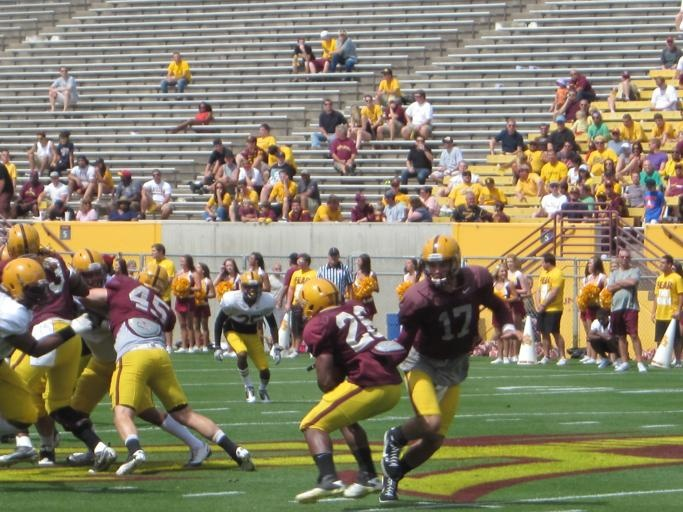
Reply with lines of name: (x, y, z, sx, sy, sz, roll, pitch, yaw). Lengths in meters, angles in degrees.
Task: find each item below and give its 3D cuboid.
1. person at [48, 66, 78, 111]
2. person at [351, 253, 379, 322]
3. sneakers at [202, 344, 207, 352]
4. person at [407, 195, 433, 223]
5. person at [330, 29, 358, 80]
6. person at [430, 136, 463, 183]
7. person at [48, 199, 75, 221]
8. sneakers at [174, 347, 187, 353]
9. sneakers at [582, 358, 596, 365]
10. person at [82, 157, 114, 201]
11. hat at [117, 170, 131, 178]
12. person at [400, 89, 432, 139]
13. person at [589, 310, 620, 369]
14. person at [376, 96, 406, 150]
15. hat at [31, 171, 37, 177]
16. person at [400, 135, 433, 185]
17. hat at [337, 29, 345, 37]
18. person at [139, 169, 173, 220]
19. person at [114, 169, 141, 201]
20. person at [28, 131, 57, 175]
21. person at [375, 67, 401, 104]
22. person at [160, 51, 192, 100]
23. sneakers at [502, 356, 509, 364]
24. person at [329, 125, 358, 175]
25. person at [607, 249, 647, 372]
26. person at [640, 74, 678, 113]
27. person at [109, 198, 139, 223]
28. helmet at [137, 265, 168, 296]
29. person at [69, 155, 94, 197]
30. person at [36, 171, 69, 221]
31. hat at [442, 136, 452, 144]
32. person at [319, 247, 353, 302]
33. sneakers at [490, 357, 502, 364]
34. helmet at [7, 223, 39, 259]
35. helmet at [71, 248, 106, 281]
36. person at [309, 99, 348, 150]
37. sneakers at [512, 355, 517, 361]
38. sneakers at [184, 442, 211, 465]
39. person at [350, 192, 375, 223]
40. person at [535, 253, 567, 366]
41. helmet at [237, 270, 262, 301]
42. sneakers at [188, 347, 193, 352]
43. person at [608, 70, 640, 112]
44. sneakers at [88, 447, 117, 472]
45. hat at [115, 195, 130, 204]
person: (-7.420, -4.393, 52.640, 0.637, 1.212, 0.813, 2, 3, 6)
person: (0.376, 0.930, 43.287, 0.775, 1.759, 0.812, -3, 7, -6)
sneakers: (-3.106, 2.105, 44.370, 0.118, 0.153, 0.334, 1, -6, -11)
person: (1.675, -1.008, 44.872, 0.534, 1.087, 0.473, 0, 3, 17)
person: (-0.068, -5.134, 50.943, 0.708, 1.165, 0.640, -3, 8, -34)
person: (2.407, -2.228, 46.515, 0.759, 1.034, 0.833, -9, 6, -20)
person: (-6.760, -1.073, 47.757, 0.721, 0.500, 0.409, -1, 0, 28)
sneakers: (-3.620, 2.149, 44.252, 0.308, 0.138, 0.117, 2, 3, 25)
sneakers: (5.114, 2.266, 41.830, 0.104, 0.127, 0.290, 2, 0, 45)
person: (-5.966, -1.789, 48.098, 0.559, 1.059, 1.060, 0, 5, 21)
hat: (-5.321, -1.971, 48.324, 0.204, 0.166, 0.342, 16, -2, 31)
person: (1.752, -3.355, 48.085, 0.823, 1.280, 0.767, 7, 11, 39)
person: (5.340, 1.740, 41.131, 0.603, 1.261, 0.720, -9, 5, 2)
person: (1.128, -3.281, 47.949, 0.676, 1.029, 0.739, -1, 0, 37)
hat: (-7.515, -1.985, 48.452, 0.176, 0.177, 0.735, -1, 0, -9)
person: (1.688, -2.197, 46.653, 0.722, 1.112, 0.501, -1, 0, 2)
hat: (-0.076, -5.617, 50.444, 0.153, 0.203, 0.198, -2, 28, 4)
person: (-4.521, -1.414, 47.807, 0.830, 1.402, 0.821, 7, -6, -35)
person: (-5.240, -1.676, 47.808, 0.547, 0.821, 0.713, 2, 6, 24)
person: (-7.528, -2.553, 49.782, 0.665, 1.120, 0.745, 2, 5, 26)
person: (1.042, -4.038, 48.471, 0.533, 0.995, 0.777, -1, 12, 30)
person: (-4.355, -4.697, 51.986, 0.740, 1.496, 1.040, 7, 9, 30)
sneakers: (3.408, 2.264, 42.338, 0.109, 0.138, 0.312, 0, -4, -2)
person: (0.011, -2.511, 47.788, 0.593, 1.168, 0.643, 0, 0, -14)
person: (5.706, 1.152, 40.513, 0.758, 2.490, 0.796, -1, 0, 8)
person: (7.395, -3.757, 46.108, 0.695, 1.069, 0.720, -7, 4, -25)
person: (-5.206, -1.037, 47.179, 0.443, 0.806, 0.242, 3, -20, -13)
helmet: (-3.459, 0.477, 36.082, 0.411, 0.553, 0.537, 12, 10, -31)
person: (-6.313, -1.886, 47.972, 0.698, 1.034, 0.927, -2, 6, -20)
person: (-6.963, -1.352, 47.909, 0.795, 1.559, 1.070, 0, -5, 3)
hat: (2.373, -2.708, 46.545, 0.239, 0.139, 0.162, -1, -5, 45)
person: (-0.248, 0.749, 42.484, 0.735, 1.811, 0.471, 1, -21, -7)
sneakers: (3.207, 2.280, 42.401, 0.196, 0.095, 0.108, -4, 1, 36)
helmet: (-5.230, -0.199, 32.836, 0.427, 0.625, 0.587, -3, 21, -15)
helmet: (-4.220, 0.190, 32.813, 0.500, 0.396, 0.463, 4, -42, 42)
person: (-0.368, -3.198, 48.614, 0.963, 1.287, 0.712, -3, 7, -18)
sneakers: (3.612, 2.231, 42.401, 0.099, 0.113, 0.193, 0, -1, 10)
sneakers: (-2.363, 3.305, 32.527, 0.234, 0.552, 0.194, 16, 21, -12)
person: (0.431, -1.072, 45.506, 0.545, 0.637, 0.738, -1, 0, 0)
person: (4.311, 1.152, 41.703, 0.618, 2.353, 0.985, -1, 0, 6)
helmet: (-1.713, 0.555, 36.748, 0.387, 0.539, 0.529, -1, 5, -12)
sneakers: (-3.388, 2.121, 44.077, 0.094, 0.102, 0.155, 5, -13, -17)
person: (6.570, -3.850, 46.993, 1.063, 1.022, 0.567, 0, 0, -30)
sneakers: (-3.851, 3.269, 31.959, 0.289, 0.241, 0.621, 36, -33, -13)
hat: (-5.227, -1.296, 47.280, 0.238, 0.155, 0.387, -1, 0, 37)
